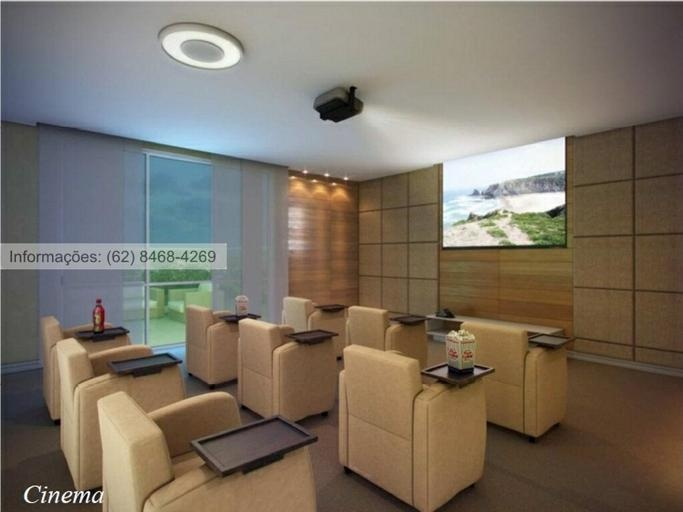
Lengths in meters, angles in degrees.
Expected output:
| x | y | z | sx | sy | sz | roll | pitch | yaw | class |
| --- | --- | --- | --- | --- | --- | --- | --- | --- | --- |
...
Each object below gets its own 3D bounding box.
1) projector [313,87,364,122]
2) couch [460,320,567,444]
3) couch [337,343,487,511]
| x | y | z | sx | sy | sz | roll | pitch | yaw | class |
| --- | --- | --- | --- | --- | --- | --- | --- | --- | --- |
| -0.046 | -1.913 | 6.052 | 0.620 | 0.324 | 0.441 | -2 | 2 | 2 | projector |
| 1.860 | 1.245 | 5.324 | 0.818 | 1.118 | 1.115 | -6 | 4 | -37 | couch |
| 0.539 | 1.232 | 4.656 | 1.157 | 1.627 | 1.553 | 0 | 0 | -42 | couch |
